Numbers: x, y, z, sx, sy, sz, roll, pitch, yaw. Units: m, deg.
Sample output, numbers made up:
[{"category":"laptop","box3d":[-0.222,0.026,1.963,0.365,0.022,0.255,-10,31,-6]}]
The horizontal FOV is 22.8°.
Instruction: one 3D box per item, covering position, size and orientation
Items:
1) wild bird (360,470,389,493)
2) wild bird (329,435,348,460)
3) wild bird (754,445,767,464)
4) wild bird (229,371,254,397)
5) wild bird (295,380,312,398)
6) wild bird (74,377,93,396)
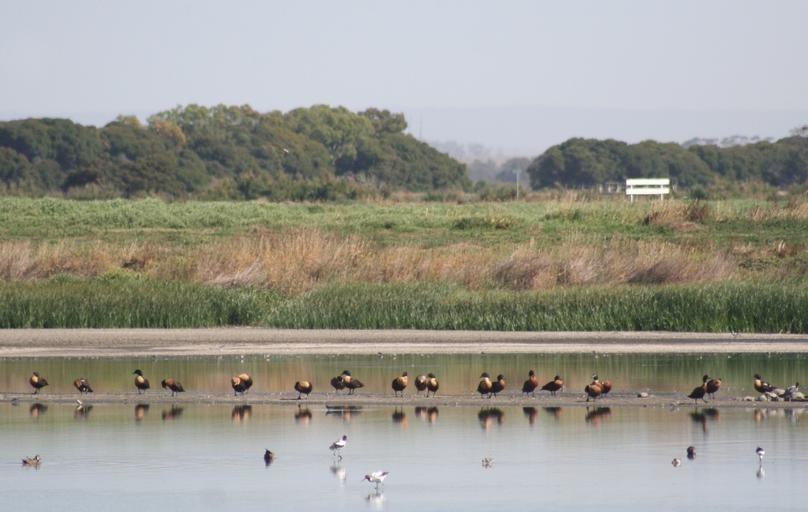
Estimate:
[{"category":"wild bird","box3d":[-1.206,10.543,94.026,1.105,0.950,0.934,-3,-6,1]},{"category":"wild bird","box3d":[-2.963,9.145,95.313,0.856,1.187,1.124,-3,-6,1]},{"category":"wild bird","box3d":[16.881,9.406,94.934,0.454,0.742,0.690,-4,-6,9]},{"category":"wild bird","box3d":[-7.867,6.347,99.115,1.008,1.044,1.300,-3,-6,-5]},{"category":"wild bird","box3d":[-4.851,6.606,98.997,0.893,0.818,1.488,-3,-6,-3]},{"category":"wild bird","box3d":[-15.642,6.462,99.121,0.947,0.832,1.111,-2,-6,-10]}]
